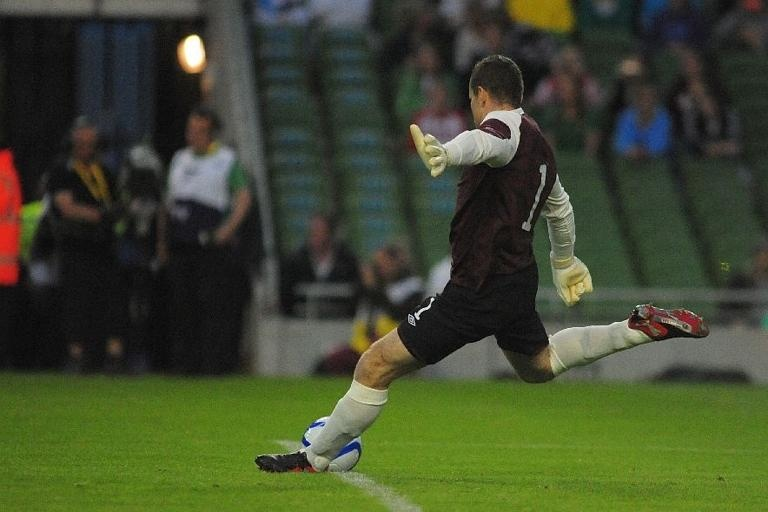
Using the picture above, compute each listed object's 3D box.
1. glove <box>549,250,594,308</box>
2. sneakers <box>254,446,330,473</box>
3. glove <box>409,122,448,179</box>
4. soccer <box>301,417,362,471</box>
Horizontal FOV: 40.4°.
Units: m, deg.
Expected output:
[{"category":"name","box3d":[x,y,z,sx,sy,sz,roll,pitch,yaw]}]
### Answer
[{"category":"glove","box3d":[1.540,0.201,8.724,0.312,0.435,0.203,-22,11,-2]},{"category":"sneakers","box3d":[-0.732,1.573,8.181,0.593,0.220,0.214,8,-8,-8]},{"category":"glove","box3d":[0.303,-0.757,7.474,0.231,0.367,0.292,-2,2,-11]},{"category":"soccer","box3d":[-0.417,1.501,8.409,0.391,0.498,0.467,-2,-8,-24]}]
